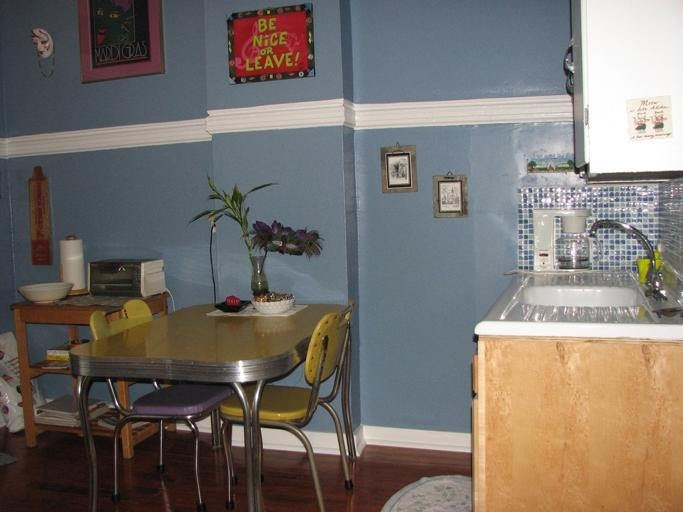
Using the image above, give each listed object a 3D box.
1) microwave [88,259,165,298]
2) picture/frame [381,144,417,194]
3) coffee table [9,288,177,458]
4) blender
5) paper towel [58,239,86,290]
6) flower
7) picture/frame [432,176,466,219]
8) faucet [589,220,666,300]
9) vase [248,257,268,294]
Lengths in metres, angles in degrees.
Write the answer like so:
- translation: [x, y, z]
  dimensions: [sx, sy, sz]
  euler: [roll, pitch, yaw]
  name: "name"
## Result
- translation: [-1.441, 0.077, 3.802]
  dimensions: [0.340, 0.245, 0.276]
  euler: [1, 0, 10]
  name: "microwave"
- translation: [0.368, -0.550, 3.589]
  dimensions: [0.278, 0.390, 0.039]
  euler: [0, 3, 10]
  name: "picture/frame"
- translation: [-1.671, 0.785, 3.900]
  dimensions: [0.789, 0.908, 0.618]
  euler: [2, 0, 9]
  name: "coffee table"
- translation: [1.293, -0.097, 3.396]
  dimensions: [0.379, 0.454, 0.253]
  euler: [-1, 5, 14]
  name: "blender"
- translation: [-1.857, 0.057, 3.999]
  dimensions: [0.169, 0.382, 0.238]
  euler: [-7, 10, -33]
  name: "paper towel"
- translation: [-0.520, -0.126, 3.544]
  dimensions: [0.670, 0.636, 0.361]
  euler: [5, 26, -8]
  name: "flower"
- translation: [0.670, -0.364, 3.529]
  dimensions: [0.235, 0.317, 0.031]
  euler: [0, 4, 13]
  name: "picture/frame"
- translation: [1.415, -0.003, 2.857]
  dimensions: [0.359, 0.133, 0.444]
  euler: [12, -31, 26]
  name: "faucet"
- translation: [-0.494, 0.130, 3.438]
  dimensions: [0.138, 0.250, 0.138]
  euler: [-2, -5, -35]
  name: "vase"
